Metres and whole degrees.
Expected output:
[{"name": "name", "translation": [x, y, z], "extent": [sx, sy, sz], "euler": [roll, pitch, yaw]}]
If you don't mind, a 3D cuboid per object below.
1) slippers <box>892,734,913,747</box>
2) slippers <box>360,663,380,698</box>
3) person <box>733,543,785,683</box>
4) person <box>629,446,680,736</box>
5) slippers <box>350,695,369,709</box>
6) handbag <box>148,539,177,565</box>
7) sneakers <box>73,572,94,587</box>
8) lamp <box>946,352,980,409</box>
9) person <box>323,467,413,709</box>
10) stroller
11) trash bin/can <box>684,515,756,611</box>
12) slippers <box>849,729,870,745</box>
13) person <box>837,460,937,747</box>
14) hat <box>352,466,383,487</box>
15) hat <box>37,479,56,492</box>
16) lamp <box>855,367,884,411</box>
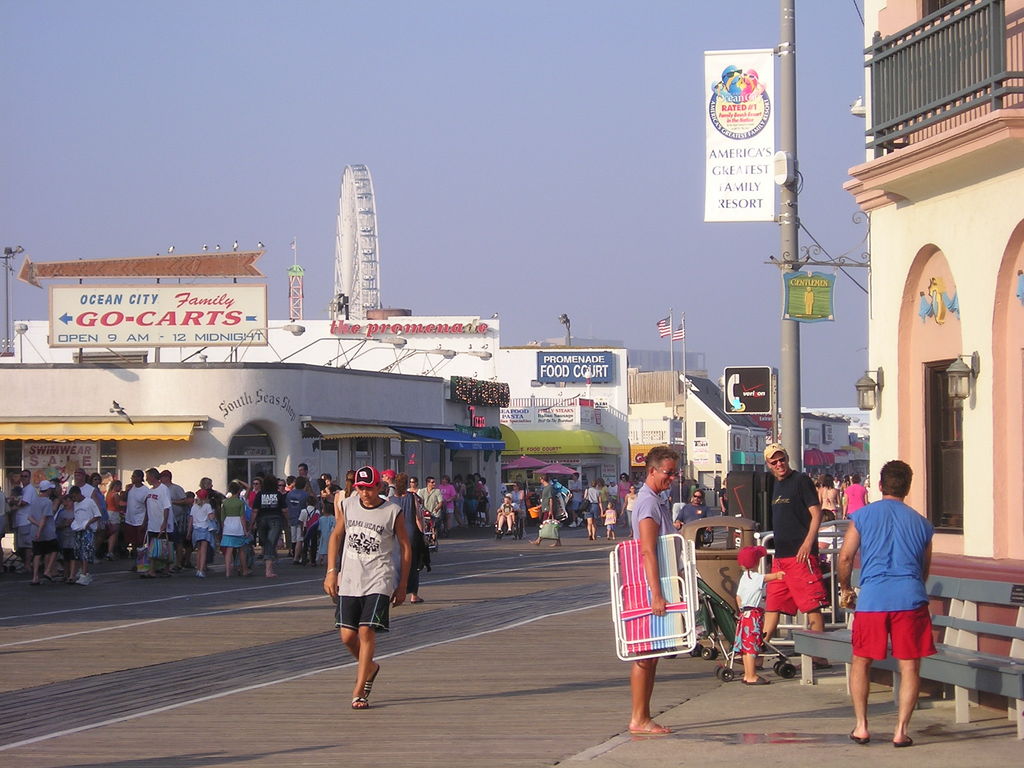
[{"name": "slippers", "translation": [3.920, 3.479, 20.487], "extent": [0.180, 0.116, 0.334], "euler": [-5, -7, 43]}, {"name": "slippers", "translation": [-1.520, 3.154, 22.371], "extent": [0.093, 0.360, 0.128], "euler": [8, 9, -28]}, {"name": "person", "translation": [2.806, 2.550, 23.463], "extent": [0.450, 1.530, 0.770], "euler": [-2, -5, 22]}, {"name": "person", "translation": [1.476, 2.039, 21.349], "extent": [0.524, 2.961, 1.321], "euler": [-1, -4, 4]}, {"name": "slippers", "translation": [-1.577, 3.344, 22.175], "extent": [0.178, 0.149, 0.296], "euler": [-4, -6, 39]}, {"name": "handbag", "translation": [-6.333, 2.867, 36.925], "extent": [0.454, 0.477, 0.449], "euler": [11, 2, 34]}, {"name": "sneakers", "translation": [-7.347, 3.276, 35.494], "extent": [0.139, 0.171, 0.390], "euler": [0, -11, 1]}, {"name": "lamp", "translation": [5.706, -0.108, 26.175], "extent": [0.376, 0.679, 0.471], "euler": [1, -5, -11]}, {"name": "person", "translation": [-1.557, 2.149, 22.610], "extent": [0.754, 2.602, 0.913], "euler": [3, -5, -34]}, {"name": "stroller", "translation": [2.662, 2.752, 24.430], "extent": [1.602, 1.451, 1.001], "euler": [3, -3, 9]}, {"name": "trash bin/can", "translation": [2.584, 2.035, 24.943], "extent": [0.701, 0.847, 0.706], "euler": [-9, -4, 42]}, {"name": "slippers", "translation": [3.497, 3.456, 20.548], "extent": [0.204, 0.133, 0.191], "euler": [-1, -5, 3]}, {"name": "person", "translation": [3.762, 2.134, 20.641], "extent": [0.900, 2.826, 0.379], "euler": [-1, -4, 9]}, {"name": "hat", "translation": [-1.555, 0.952, 22.617], "extent": [0.280, 0.249, 0.734], "euler": [0, -5, -3]}, {"name": "hat", "translation": [-8.921, 1.851, 39.626], "extent": [0.329, 0.238, 0.446], "euler": [1, -16, -5]}, {"name": "lamp", "translation": [4.854, 0.002, 27.993], "extent": [0.392, 0.562, 0.433], "euler": [0, -5, -2]}]
